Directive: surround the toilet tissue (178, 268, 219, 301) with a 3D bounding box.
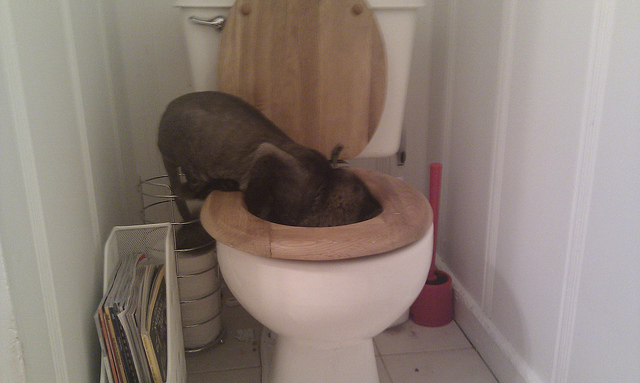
[{"bbox_3d":[-0.362,0.264,1.508,0.088,0.062,0.089,-9,14,-35],"label":"toilet tissue"}]

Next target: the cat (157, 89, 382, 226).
[{"bbox_3d":[-0.129,-0.093,1.291,0.551,0.330,0.178,-1,16,11],"label":"cat"}]

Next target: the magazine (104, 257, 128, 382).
[{"bbox_3d":[-0.494,0.353,1.233,0.038,0.158,0.158,-7,8,-15],"label":"magazine"}]
